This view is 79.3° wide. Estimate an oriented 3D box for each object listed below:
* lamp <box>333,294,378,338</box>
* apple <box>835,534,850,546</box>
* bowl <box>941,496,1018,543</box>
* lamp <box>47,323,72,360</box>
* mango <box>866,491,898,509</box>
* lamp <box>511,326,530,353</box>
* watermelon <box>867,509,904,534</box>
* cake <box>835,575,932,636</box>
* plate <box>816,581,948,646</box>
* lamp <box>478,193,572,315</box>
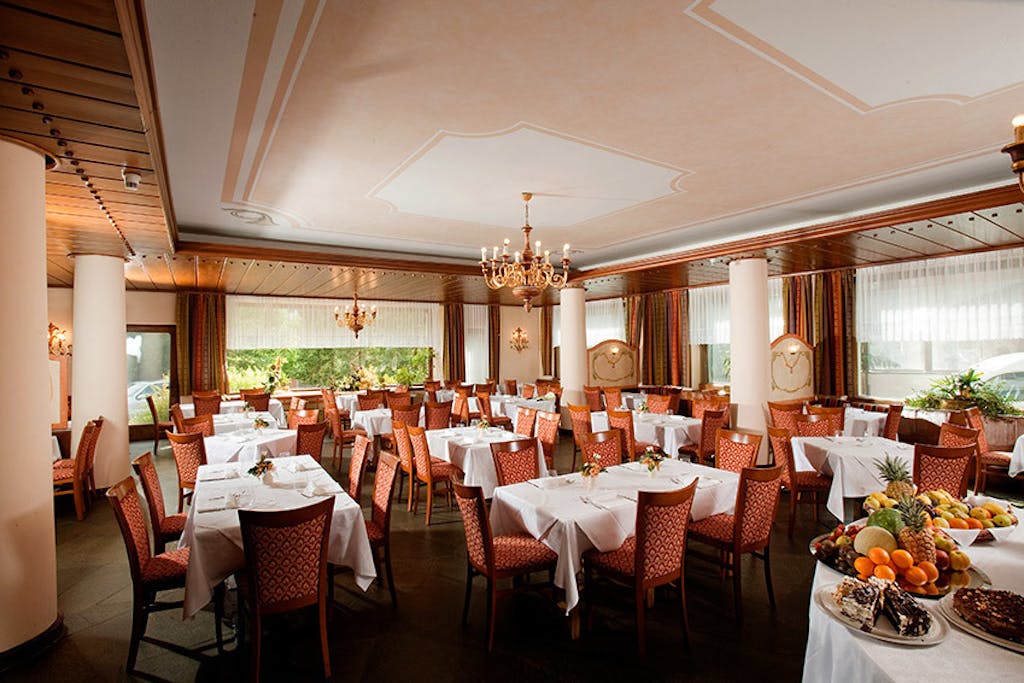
[{"bbox_3d":[-3.562,-0.618,13.985,0.991,0.993,1.006,4,-8,-44],"label":"lamp"},{"bbox_3d":[2.045,1.240,3.832,0.058,0.069,0.059,11,0,16],"label":"apple"},{"bbox_3d":[3.128,1.252,4.163,0.391,0.104,0.389,-4,-3,0],"label":"bowl"},{"bbox_3d":[-8.734,-0.039,11.915,0.339,0.655,0.602,-9,13,-34],"label":"lamp"},{"bbox_3d":[2.442,1.063,4.090,0.166,0.074,0.126,-8,-1,-18],"label":"mango"},{"bbox_3d":[0.187,-0.068,18.406,0.632,0.729,0.142,-7,13,-30],"label":"lamp"},{"bbox_3d":[2.282,1.097,3.797,0.147,0.144,0.135,1,3,7],"label":"watermelon"},{"bbox_3d":[2.111,1.504,3.537,0.361,0.147,0.452,-9,4,-26],"label":"cake"},{"bbox_3d":[2.027,1.606,3.510,0.412,0.055,0.407,0,5,-25],"label":"plate"},{"bbox_3d":[0.175,-1.311,8.553,1.125,1.443,1.094,2,1,1],"label":"lamp"}]
